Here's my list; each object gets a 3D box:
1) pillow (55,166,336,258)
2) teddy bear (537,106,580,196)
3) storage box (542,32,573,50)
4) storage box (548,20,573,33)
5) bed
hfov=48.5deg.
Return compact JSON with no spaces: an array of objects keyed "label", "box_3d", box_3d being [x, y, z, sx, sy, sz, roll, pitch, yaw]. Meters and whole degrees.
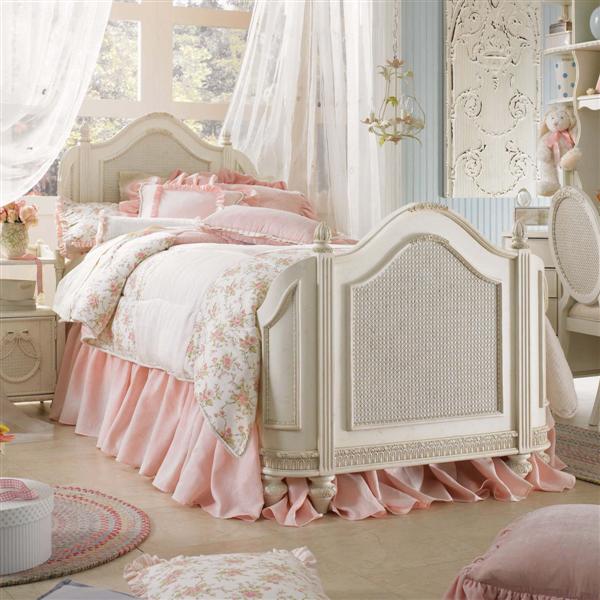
[{"label":"pillow","box_3d":[-0.635,-0.466,3.561,1.234,0.537,0.691,1,4,-20]},{"label":"teddy bear","box_3d":[1.374,-0.825,3.660,0.303,0.431,0.178,0,14,-5]},{"label":"storage box","box_3d":[1.363,-1.364,3.527,0.143,0.057,0.144,4,7,41]},{"label":"storage box","box_3d":[1.380,-1.429,3.511,0.087,0.051,0.126,2,5,40]},{"label":"bed","box_3d":[0.089,-0.333,3.929,2.428,1.275,1.486,3,1,20]}]
